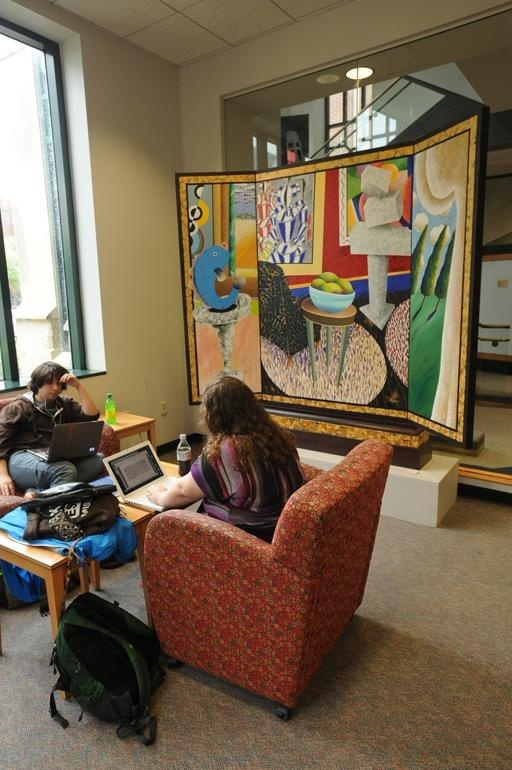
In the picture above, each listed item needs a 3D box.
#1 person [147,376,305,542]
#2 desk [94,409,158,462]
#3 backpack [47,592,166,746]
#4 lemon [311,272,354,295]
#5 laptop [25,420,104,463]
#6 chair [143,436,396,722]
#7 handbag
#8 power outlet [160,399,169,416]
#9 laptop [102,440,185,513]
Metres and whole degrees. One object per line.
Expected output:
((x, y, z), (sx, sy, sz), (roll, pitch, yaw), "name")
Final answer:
((-0.070, 0.359, 2.214), (0.547, 0.806, 0.505), (4, 22, 19), "person")
((-0.848, 0.319, 3.727), (0.272, 0.256, 0.269), (-10, 13, -42), "desk")
((-0.512, 0.984, 1.948), (0.174, 0.445, 0.319), (-42, 0, 18), "backpack")
((0.477, -0.637, 3.591), (0.208, 0.120, 0.080), (11, 34, 37), "lemon")
((-0.938, 0.224, 2.807), (0.250, 0.184, 0.248), (9, 10, 40), "laptop")
((0.058, 0.522, 2.313), (0.925, 0.983, 0.748), (12, 23, 31), "chair")
((-0.705, 0.484, 2.173), (0.220, 0.074, 0.223), (0, 11, 9), "handbag")
((-0.785, 0.182, 4.818), (0.014, 0.142, 0.121), (3, 9, 21), "power outlet")
((-0.520, 0.395, 2.512), (0.181, 0.257, 0.297), (-23, -5, 28), "laptop")
